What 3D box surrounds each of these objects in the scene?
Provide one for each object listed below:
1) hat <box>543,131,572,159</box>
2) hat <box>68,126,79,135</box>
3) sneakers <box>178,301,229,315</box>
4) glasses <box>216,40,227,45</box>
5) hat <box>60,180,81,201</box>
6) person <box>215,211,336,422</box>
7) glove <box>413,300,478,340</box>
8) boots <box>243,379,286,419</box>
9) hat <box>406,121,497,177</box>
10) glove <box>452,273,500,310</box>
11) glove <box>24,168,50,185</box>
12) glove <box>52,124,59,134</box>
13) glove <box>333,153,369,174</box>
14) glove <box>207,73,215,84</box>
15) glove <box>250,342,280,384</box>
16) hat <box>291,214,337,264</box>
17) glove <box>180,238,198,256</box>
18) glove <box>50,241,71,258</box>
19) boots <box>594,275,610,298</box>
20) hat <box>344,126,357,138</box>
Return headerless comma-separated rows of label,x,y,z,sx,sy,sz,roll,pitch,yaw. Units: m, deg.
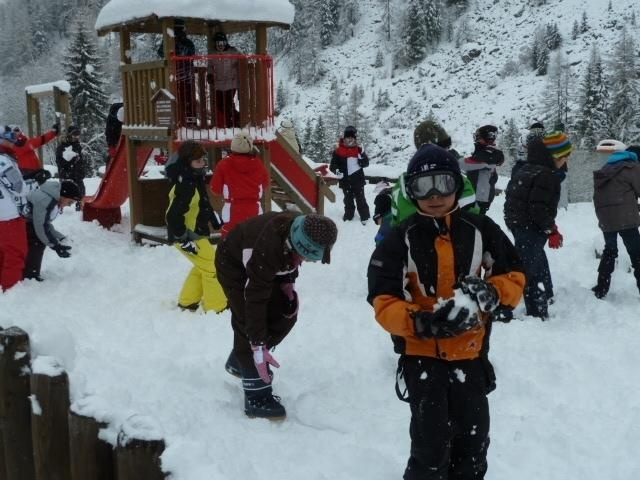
hat,3.007,-1.185,9.860,0.340,0.327,0.268,3,10,17
hat,-4.615,-2.028,14.618,0.176,0.221,0.247,2,7,2
sneakers,-1.612,0.882,10.219,0.387,0.146,0.254,-1,0,1
glasses,-1.594,-3.216,12.827,0.101,0.090,0.201,9,14,44
hat,-3.197,-0.637,10.059,0.265,0.264,0.208,-8,14,-30
person,-0.488,0.885,8.241,0.878,1.859,0.766,21,50,8
glove,1.038,0.678,6.577,0.411,0.234,0.322,1,1,17
boots,-0.502,1.604,8.087,0.483,0.536,0.285,1,3,13
hat,1.371,-1.188,9.259,0.584,0.484,0.388,-10,-24,-16
glove,1.361,0.481,6.687,0.384,0.327,0.220,0,9,5
glove,-4.128,-0.916,11.359,0.506,0.204,0.380,-3,3,42
glove,-4.818,-2.007,14.221,0.208,0.235,0.082,7,13,44
glove,0.537,-1.391,14.477,0.469,0.176,0.404,-1,-15,22
glove,-1.783,-2.631,12.765,0.091,0.203,0.127,-4,-13,24
glove,-0.594,1.248,7.881,0.106,0.434,0.256,-9,21,39
hat,-0.075,-0.072,7.525,0.340,0.377,0.496,-17,54,-20
glove,-1.642,0.091,9.803,0.206,0.139,0.075,31,19,-3
glove,-3.383,0.125,10.188,0.225,0.238,0.411,-3,11,-16
boots,3.870,0.627,10.676,0.153,0.324,0.310,0,26,0
hat,0.561,-1.966,14.234,0.156,0.184,0.215,11,18,6
